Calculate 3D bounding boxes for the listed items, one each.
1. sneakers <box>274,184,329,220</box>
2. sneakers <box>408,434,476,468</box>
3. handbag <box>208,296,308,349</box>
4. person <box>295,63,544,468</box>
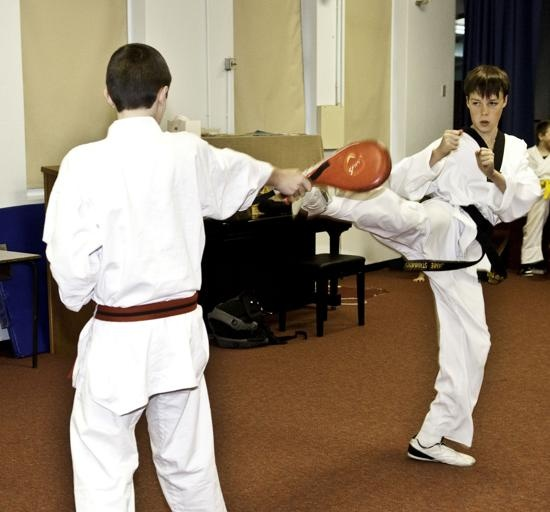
[{"bbox_3d":[0.099,-0.172,1.928,0.131,0.064,0.101,-1,20,-1],"label":"sneakers"},{"bbox_3d":[0.714,0.864,2.652,0.328,0.135,0.117,5,-3,2],"label":"sneakers"},{"bbox_3d":[-0.213,0.482,4.417,0.468,0.252,0.364,1,-4,5],"label":"handbag"},{"bbox_3d":[0.598,0.124,2.247,0.892,1.678,0.467,-7,10,-42],"label":"person"}]
